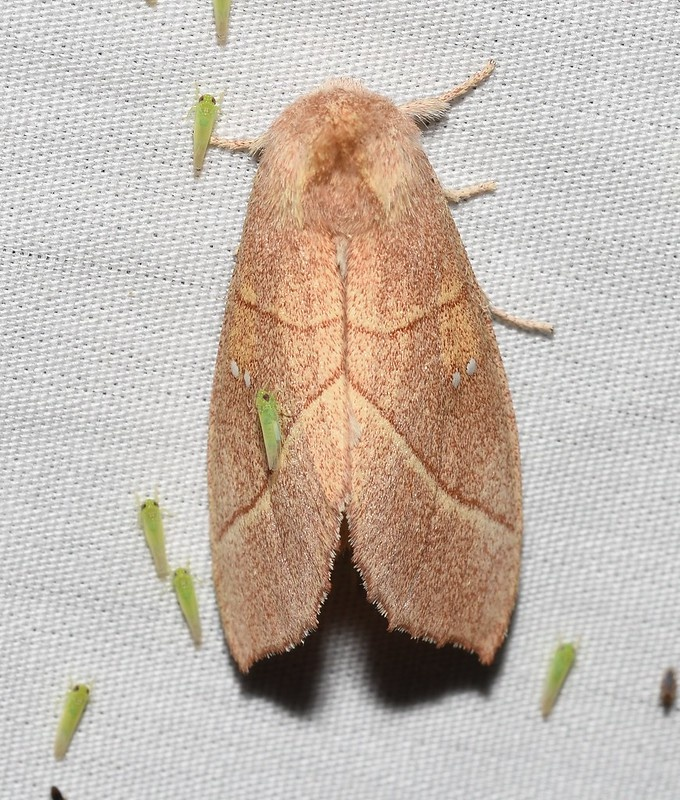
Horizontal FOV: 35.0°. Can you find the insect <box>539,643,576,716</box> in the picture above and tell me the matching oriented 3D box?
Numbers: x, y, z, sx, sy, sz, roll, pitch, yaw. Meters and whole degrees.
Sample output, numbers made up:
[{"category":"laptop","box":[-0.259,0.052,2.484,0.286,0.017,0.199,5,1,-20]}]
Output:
[{"category":"insect","box":[0.418,0.528,2.080,0.039,0.041,0.191,14,78,-4]}]

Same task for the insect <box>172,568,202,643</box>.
[{"category":"insect","box":[-0.294,0.386,2.082,0.034,0.053,0.183,-8,94,3]}]

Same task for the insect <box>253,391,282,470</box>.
[{"category":"insect","box":[-0.124,0.047,1.908,0.042,0.099,0.107,-6,50,-9]}]

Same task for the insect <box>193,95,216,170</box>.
[{"category":"insect","box":[-0.266,-0.524,2.103,0.043,0.126,0.036,6,22,1]}]

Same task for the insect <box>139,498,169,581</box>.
[{"category":"insect","box":[-0.362,0.267,2.105,0.039,0.058,0.189,-7,88,4]}]

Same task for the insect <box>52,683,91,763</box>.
[{"category":"insect","box":[-0.515,0.603,2.062,0.036,0.037,0.180,14,75,-20]}]
